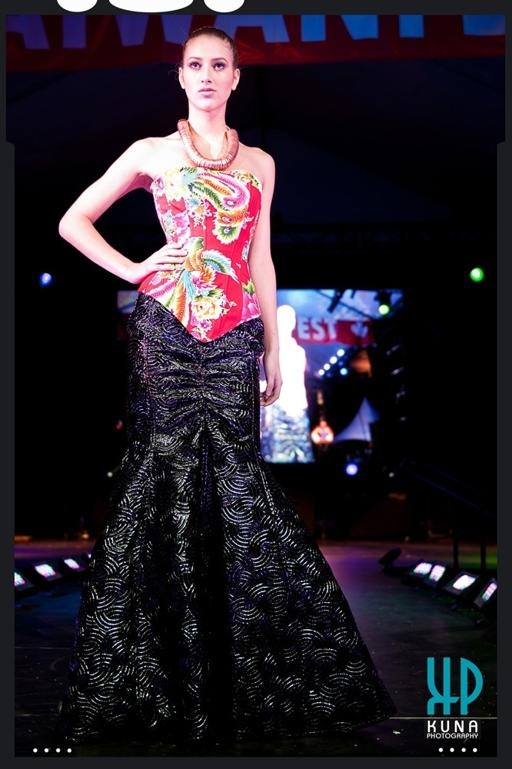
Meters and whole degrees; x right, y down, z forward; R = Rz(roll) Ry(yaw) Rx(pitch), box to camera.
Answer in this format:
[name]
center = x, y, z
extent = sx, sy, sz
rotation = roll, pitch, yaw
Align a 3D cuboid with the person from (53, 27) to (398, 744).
[person]
center = -0.111, 0.112, 1.976
extent = 0.809, 1.647, 0.288
rotation = -1, -10, 8
